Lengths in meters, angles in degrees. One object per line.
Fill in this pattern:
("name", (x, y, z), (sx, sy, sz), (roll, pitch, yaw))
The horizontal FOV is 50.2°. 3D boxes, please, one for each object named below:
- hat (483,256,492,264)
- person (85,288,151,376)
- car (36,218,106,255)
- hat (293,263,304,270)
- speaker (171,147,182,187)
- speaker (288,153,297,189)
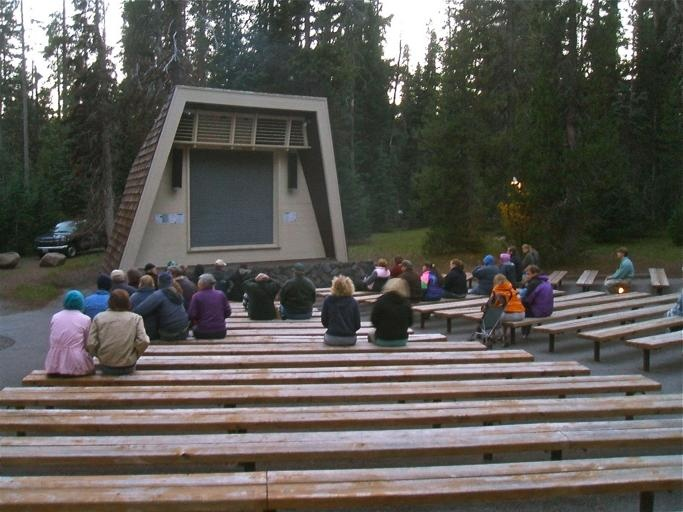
("hat", (3.753, 0.092, 18.605), (0.183, 0.234, 0.259), (1, 15, -11))
("person", (-3.482, 1.220, 12.386), (1.169, 1.615, 1.260), (0, 4, -13))
("car", (-12.712, -0.944, 34.596), (1.549, 1.290, 3.486), (0, 3, 12))
("hat", (-0.892, 0.225, 15.516), (0.160, 0.125, 0.136), (1, 0, -26))
("speaker", (-5.276, -2.805, 23.365), (0.374, 1.285, 0.311), (1, 0, -19))
("speaker", (-1.671, -2.909, 25.030), (0.423, 1.154, 0.228), (1, 0, -21))
